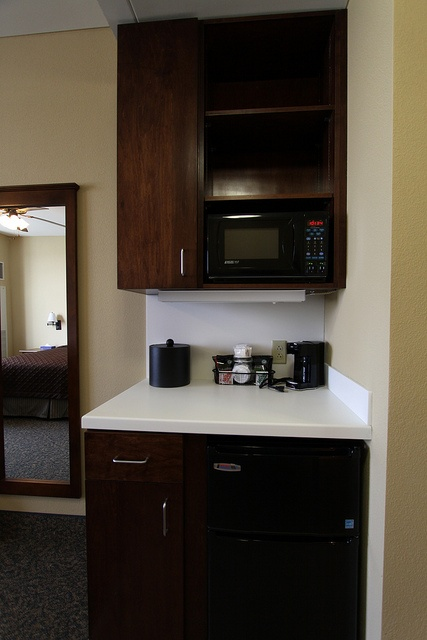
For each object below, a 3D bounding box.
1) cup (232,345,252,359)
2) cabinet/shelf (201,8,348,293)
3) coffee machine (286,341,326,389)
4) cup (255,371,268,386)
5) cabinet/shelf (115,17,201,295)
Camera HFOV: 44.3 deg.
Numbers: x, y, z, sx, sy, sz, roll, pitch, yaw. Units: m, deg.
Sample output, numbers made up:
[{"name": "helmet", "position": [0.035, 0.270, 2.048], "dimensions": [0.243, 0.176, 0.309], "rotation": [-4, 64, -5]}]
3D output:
[{"name": "cup", "position": [0.120, 0.127, 2.136], "dimensions": [0.068, 0.058, 0.075], "rotation": [0, 11, 0]}, {"name": "cabinet/shelf", "position": [0.208, -0.515, 2.043], "dimensions": [0.525, 1.145, 0.398], "rotation": [-2, -21, 10]}, {"name": "coffee machine", "position": [0.375, 0.176, 2.073], "dimensions": [0.165, 0.232, 0.129], "rotation": [1, -1, 3]}, {"name": "cup", "position": [0.190, 0.228, 2.098], "dimensions": [0.057, 0.069, 0.045], "rotation": [1, 1, 15]}, {"name": "cabinet/shelf", "position": [-0.208, -0.618, 1.941], "dimensions": [0.279, 0.991, 0.103], "rotation": [-1, -9, -3]}]
